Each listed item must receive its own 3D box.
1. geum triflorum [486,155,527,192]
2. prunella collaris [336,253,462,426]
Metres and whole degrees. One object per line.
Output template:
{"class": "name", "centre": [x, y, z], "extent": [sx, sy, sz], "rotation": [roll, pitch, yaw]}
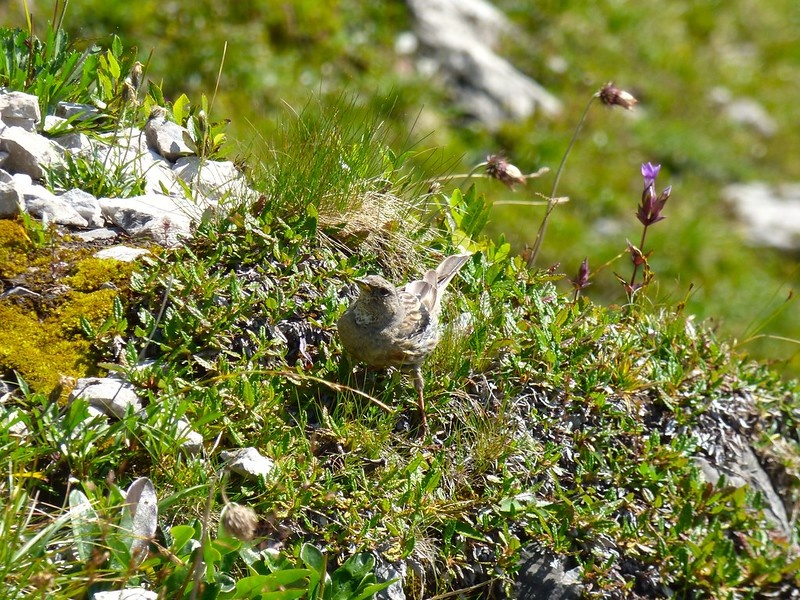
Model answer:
{"class": "geum triflorum", "centre": [0.654, -0.772, 5.257], "extent": [0.232, 0.111, 0.168], "rotation": [21, 47, 9]}
{"class": "prunella collaris", "centre": [0.095, 0.121, 4.828], "extent": [0.395, 0.587, 1.053], "rotation": [16, 30, 22]}
